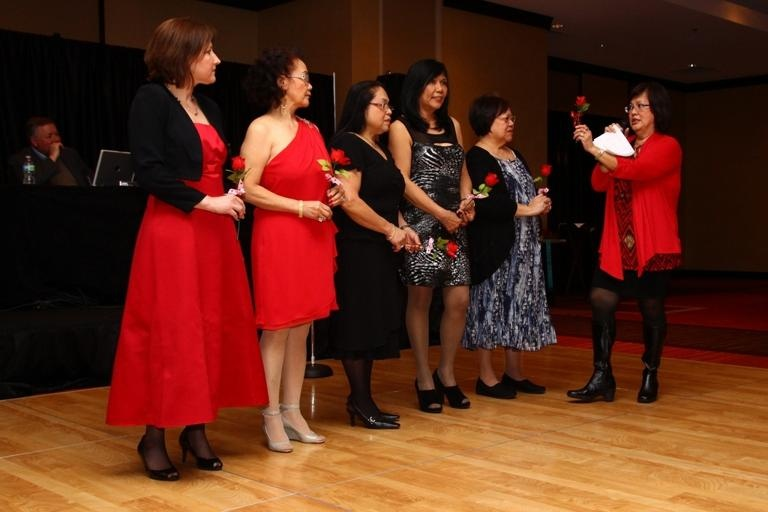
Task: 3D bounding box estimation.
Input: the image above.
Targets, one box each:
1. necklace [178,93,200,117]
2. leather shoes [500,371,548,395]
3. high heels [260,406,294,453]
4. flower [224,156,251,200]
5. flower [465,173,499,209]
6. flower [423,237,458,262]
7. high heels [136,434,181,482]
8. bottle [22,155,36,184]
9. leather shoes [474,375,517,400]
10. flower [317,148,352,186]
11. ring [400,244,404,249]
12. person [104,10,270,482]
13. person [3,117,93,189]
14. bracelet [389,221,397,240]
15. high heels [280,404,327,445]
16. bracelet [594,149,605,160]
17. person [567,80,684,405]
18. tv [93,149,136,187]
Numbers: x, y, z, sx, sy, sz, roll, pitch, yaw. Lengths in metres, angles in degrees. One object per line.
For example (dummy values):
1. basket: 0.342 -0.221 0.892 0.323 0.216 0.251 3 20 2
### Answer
1. necklace: -0.901 -0.699 2.714 0.041 0.099 0.081 -29 3 35
2. leather shoes: 1.030 0.921 4.222 0.336 0.132 0.123 2 -1 24
3. high heels: -0.570 0.904 3.059 0.101 0.130 0.294 -2 14 -31
4. flower: -0.709 -0.362 2.817 0.133 0.247 0.111 -7 18 -32
5. flower: 0.654 -0.447 3.763 0.157 0.190 0.419 3 6 13
6. flower: 0.352 -0.061 3.599 0.188 0.116 0.075 3 -3 -9
7. high heels: -1.089 0.957 2.754 0.110 0.132 0.317 7 2 -45
8. bottle: -3.356 -0.827 5.472 0.108 0.276 0.646 -1 6 -32
9. leather shoes: 0.778 0.926 4.063 0.231 0.089 0.123 -3 -3 27
10. flower: -0.272 -0.467 3.088 0.142 0.132 0.149 40 46 12
11. ring: 0.102 -0.059 3.366 0.017 0.022 0.021 -2 -6 -21
12. person: -0.896 -0.017 2.669 0.694 2.124 0.367 0 5 -26
13. person: -3.419 -1.064 5.799 0.589 0.670 0.973 1 5 -8
14. bracelet: 0.050 -0.133 3.309 0.053 0.064 0.032 2 -4 -23
15. high heels: -0.455 0.912 3.187 0.296 0.194 0.108 -2 2 36
16. bracelet: 1.393 -0.659 3.755 0.057 0.055 0.017 29 22 22
17. person: 1.671 -0.098 3.938 0.734 2.166 0.446 2 5 8
18. tv: -2.502 -0.768 5.102 0.455 0.304 0.331 -1 -1 23
